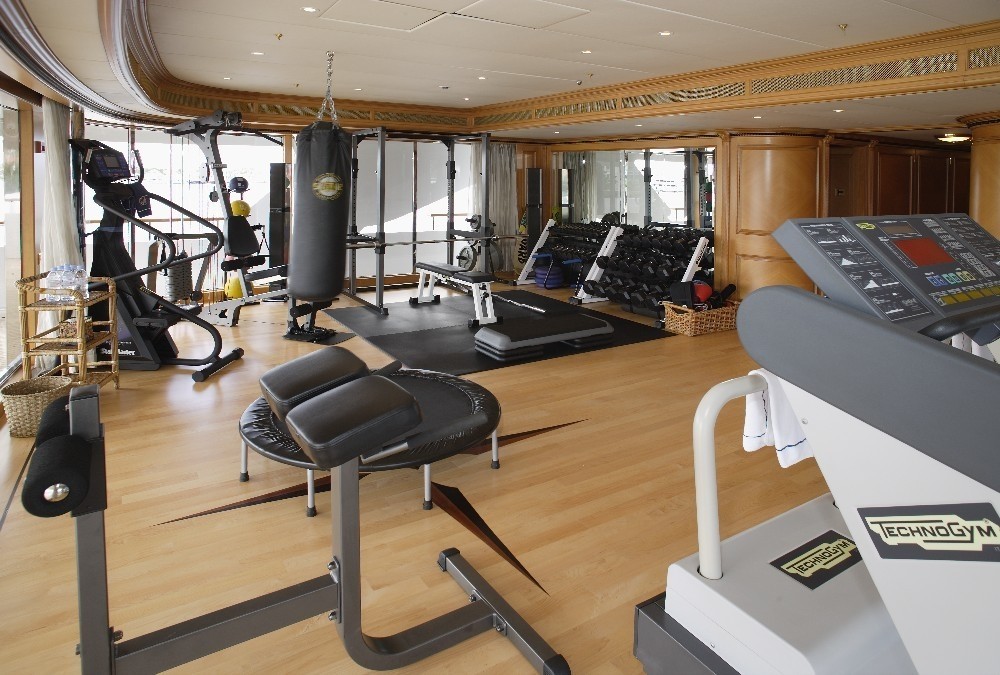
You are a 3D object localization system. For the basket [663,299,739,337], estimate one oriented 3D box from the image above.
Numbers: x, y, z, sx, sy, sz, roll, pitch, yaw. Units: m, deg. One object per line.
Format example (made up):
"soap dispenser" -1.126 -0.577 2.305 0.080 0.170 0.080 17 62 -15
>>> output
"basket" 2.241 -0.221 7.243 1.006 0.341 0.652 -7 10 -32

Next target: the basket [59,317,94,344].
"basket" -3.211 -0.054 4.772 0.269 0.160 0.259 1 0 -38

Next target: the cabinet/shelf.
"cabinet/shelf" -3.344 -0.095 4.915 0.819 1.039 0.943 1 14 -18
